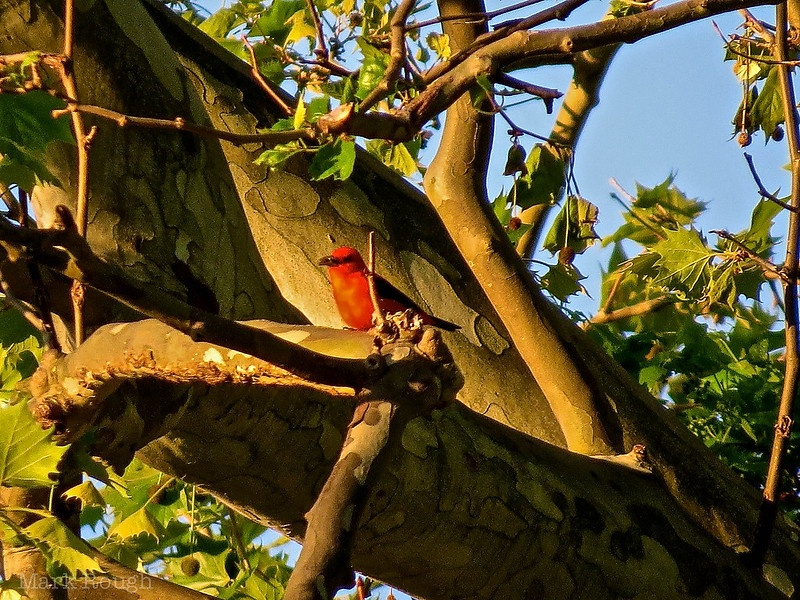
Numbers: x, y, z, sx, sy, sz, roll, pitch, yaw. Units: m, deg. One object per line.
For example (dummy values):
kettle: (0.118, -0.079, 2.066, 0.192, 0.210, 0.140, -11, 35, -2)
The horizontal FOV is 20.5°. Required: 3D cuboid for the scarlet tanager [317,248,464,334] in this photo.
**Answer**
scarlet tanager: (-0.090, -0.058, 10.304, 0.232, 0.734, 0.450, 12, -77, 44)
